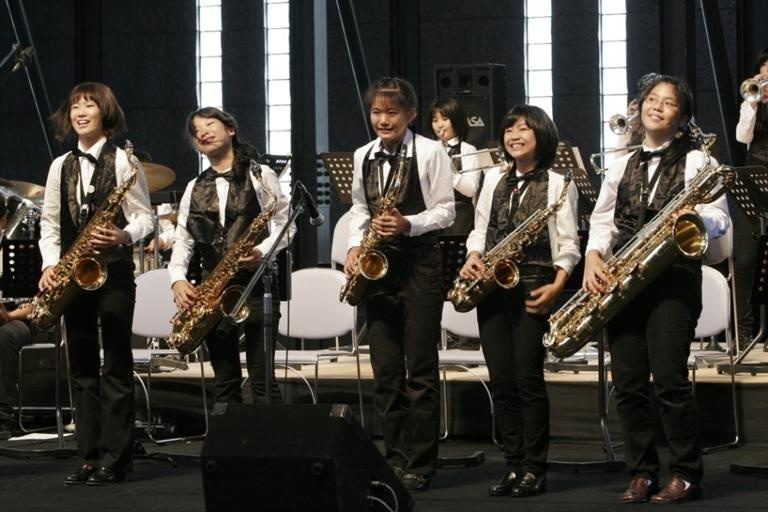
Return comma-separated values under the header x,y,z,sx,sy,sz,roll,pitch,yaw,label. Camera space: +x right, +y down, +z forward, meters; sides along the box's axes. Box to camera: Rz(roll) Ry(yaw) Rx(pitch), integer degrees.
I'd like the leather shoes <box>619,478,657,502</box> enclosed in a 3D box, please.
x,y,z,sx,sy,sz,roll,pitch,yaw,label
1.372,1.263,5.077,0.093,0.091,0.244,-9,-8,44,leather shoes

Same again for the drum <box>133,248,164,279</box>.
x,y,z,sx,sy,sz,roll,pitch,yaw,label
-2.015,0.053,8.030,0.148,0.245,0.182,-22,-37,30,drum

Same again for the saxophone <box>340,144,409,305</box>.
x,y,z,sx,sy,sz,roll,pitch,yaw,label
-0.064,-0.182,5.373,0.404,0.928,0.259,-1,2,5,saxophone

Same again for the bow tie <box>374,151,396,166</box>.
x,y,z,sx,sy,sz,roll,pitch,yaw,label
0.014,-0.564,5.393,0.074,0.034,0.101,4,-1,-34,bow tie

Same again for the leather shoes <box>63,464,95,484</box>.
x,y,z,sx,sy,sz,roll,pitch,yaw,label
-1.804,1.305,5.620,0.087,0.087,0.219,-3,-7,38,leather shoes

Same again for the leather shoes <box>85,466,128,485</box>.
x,y,z,sx,sy,sz,roll,pitch,yaw,label
-1.644,1.313,5.577,0.097,0.072,0.199,-7,-14,37,leather shoes

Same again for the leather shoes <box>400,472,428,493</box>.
x,y,z,sx,sy,sz,roll,pitch,yaw,label
0.171,1.273,5.285,0.146,0.062,0.104,8,-11,-10,leather shoes

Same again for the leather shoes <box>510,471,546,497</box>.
x,y,z,sx,sy,sz,roll,pitch,yaw,label
0.815,1.285,5.290,0.091,0.087,0.222,-6,-12,39,leather shoes

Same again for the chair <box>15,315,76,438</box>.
x,y,z,sx,sy,sz,roll,pitch,yaw,label
-2.775,0.978,7.765,0.463,0.766,0.484,-8,1,-6,chair

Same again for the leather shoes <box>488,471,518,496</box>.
x,y,z,sx,sy,sz,roll,pitch,yaw,label
0.686,1.293,5.320,0.081,0.089,0.223,-6,-11,36,leather shoes

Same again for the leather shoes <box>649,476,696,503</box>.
x,y,z,sx,sy,sz,roll,pitch,yaw,label
1.570,1.263,5.054,0.261,0.100,0.113,2,-12,-26,leather shoes
